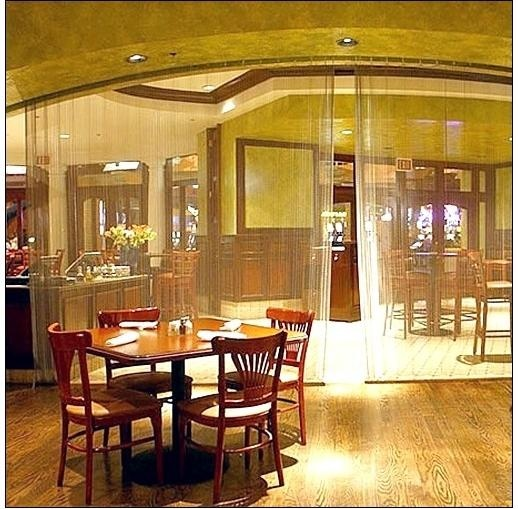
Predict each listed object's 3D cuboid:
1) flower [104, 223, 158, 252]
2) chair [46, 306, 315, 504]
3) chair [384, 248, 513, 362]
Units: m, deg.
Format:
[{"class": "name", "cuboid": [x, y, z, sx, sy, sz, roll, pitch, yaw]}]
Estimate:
[{"class": "flower", "cuboid": [-1.395, -0.191, 5.201, 0.324, 0.174, 0.331, 0, -2, 14]}, {"class": "chair", "cuboid": [-0.462, 0.864, 3.178, 1.520, 0.928, 1.333, 0, 2, 8]}, {"class": "chair", "cuboid": [1.942, 0.378, 4.855, 1.181, 0.848, 1.194, -2, -4, 39]}]
